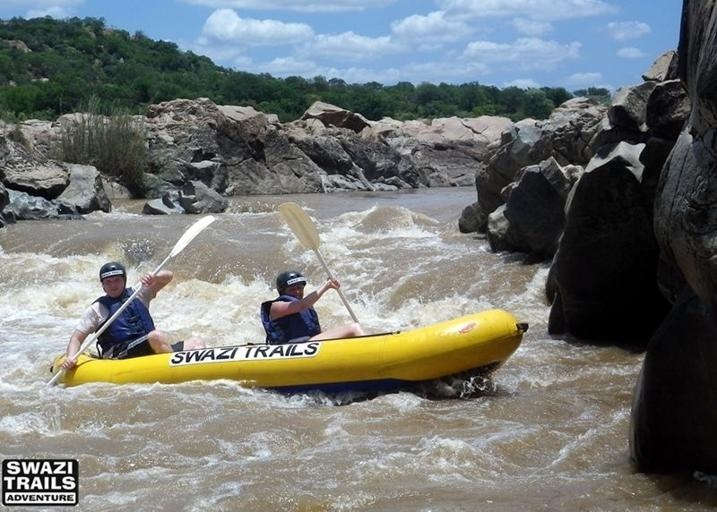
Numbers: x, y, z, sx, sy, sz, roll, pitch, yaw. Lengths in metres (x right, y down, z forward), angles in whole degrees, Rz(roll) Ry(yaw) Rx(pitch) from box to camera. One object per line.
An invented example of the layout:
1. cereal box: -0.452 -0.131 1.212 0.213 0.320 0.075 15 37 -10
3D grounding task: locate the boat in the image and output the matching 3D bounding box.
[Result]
1. boat: -0.949 1.178 8.296 5.169 0.751 1.608 -7 -7 15

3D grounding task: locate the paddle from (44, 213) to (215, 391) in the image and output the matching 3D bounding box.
1. paddle: -3.166 0.644 10.894 3.246 0.354 0.205 -46 21 -18

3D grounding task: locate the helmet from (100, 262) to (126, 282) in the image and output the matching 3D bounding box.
1. helmet: -2.792 0.181 8.920 0.217 0.217 0.293 -15 3 -11

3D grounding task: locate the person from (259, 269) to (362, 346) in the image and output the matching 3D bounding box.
1. person: -0.461 0.650 8.958 1.385 0.936 0.695 -3 -4 28

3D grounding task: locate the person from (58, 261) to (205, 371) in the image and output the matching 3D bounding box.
1. person: -2.549 0.739 8.843 1.232 1.139 1.505 -9 -5 32

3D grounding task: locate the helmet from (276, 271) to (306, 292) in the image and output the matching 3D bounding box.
1. helmet: -0.781 0.284 9.063 0.267 0.202 0.246 0 -8 10

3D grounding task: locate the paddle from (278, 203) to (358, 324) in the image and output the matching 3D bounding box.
1. paddle: -0.631 0.153 12.206 0.365 2.604 0.125 -33 -3 17
